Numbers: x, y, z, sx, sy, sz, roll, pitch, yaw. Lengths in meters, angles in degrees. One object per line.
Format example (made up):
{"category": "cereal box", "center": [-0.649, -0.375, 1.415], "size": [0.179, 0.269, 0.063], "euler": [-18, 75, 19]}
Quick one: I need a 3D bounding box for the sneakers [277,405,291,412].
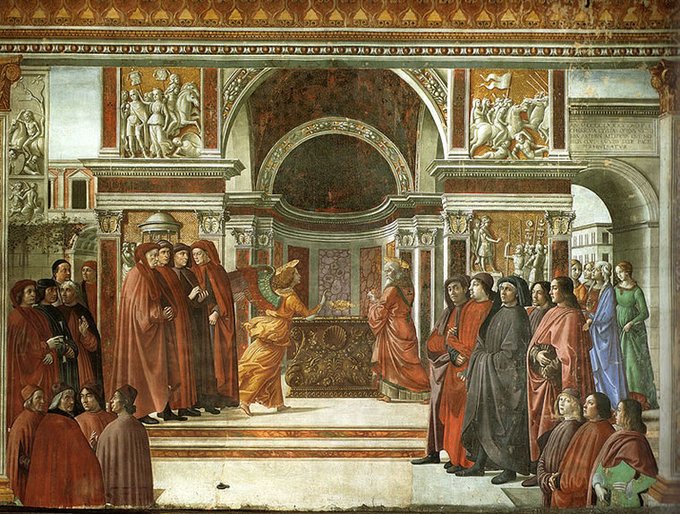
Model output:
{"category": "sneakers", "center": [-0.760, 2.002, 22.530], "size": [0.164, 0.127, 0.065], "euler": [-9, 3, -29]}
